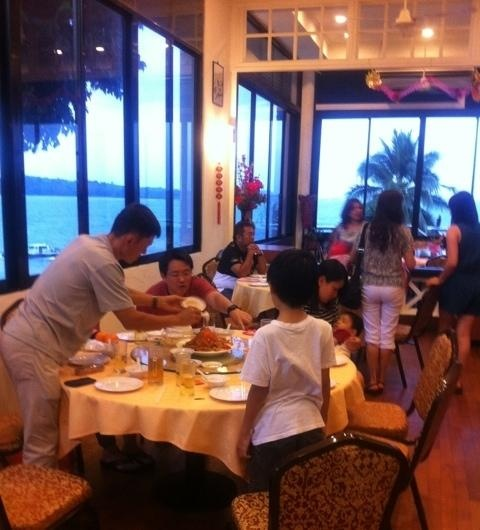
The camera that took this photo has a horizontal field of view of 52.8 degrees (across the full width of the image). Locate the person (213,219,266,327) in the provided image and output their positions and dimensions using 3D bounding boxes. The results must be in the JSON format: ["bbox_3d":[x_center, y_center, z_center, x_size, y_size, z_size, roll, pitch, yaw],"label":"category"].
[{"bbox_3d":[0.023,0.101,4.861,0.487,1.188,0.392,20,28,38],"label":"person"}]

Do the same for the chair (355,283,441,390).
[{"bbox_3d":[1.406,0.445,4.212,0.583,1.208,0.545,8,13,33],"label":"chair"}]

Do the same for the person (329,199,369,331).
[{"bbox_3d":[1.191,-0.024,5.433,0.398,1.554,0.457,3,31,3],"label":"person"}]

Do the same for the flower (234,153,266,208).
[{"bbox_3d":[0.120,-1.159,6.659,0.381,0.711,1.254,0,11,0],"label":"flower"}]

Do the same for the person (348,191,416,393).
[{"bbox_3d":[1.097,0.144,3.712,0.344,1.601,0.425,7,23,22],"label":"person"}]

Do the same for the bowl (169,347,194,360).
[{"bbox_3d":[-0.231,0.348,1.913,0.058,0.053,0.058,1,5,0],"label":"bowl"}]
